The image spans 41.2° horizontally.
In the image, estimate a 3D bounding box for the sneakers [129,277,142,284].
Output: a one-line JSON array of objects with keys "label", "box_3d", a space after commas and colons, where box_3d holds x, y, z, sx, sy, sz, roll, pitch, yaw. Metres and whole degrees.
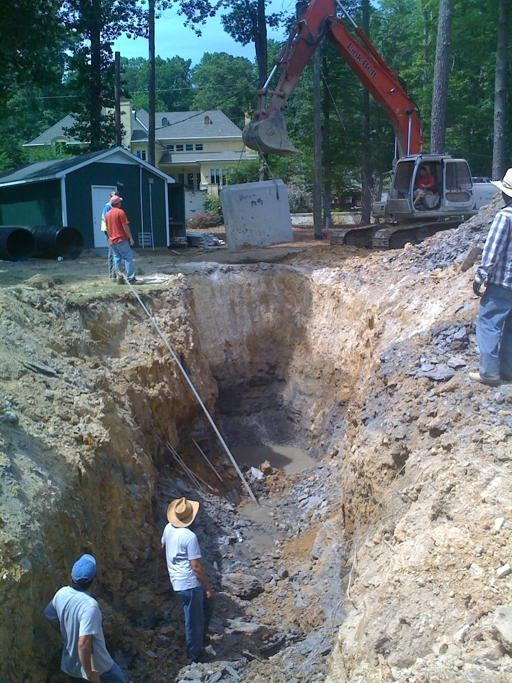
[{"label": "sneakers", "box_3d": [-2.193, -1.104, 12.523, 0.176, 0.075, 0.220, 4, 9, -3]}]

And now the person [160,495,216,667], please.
[{"label": "person", "box_3d": [-0.685, 2.389, 6.815, 0.470, 1.569, 0.555, -3, 9, -8]}]

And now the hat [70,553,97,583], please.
[{"label": "hat", "box_3d": [-1.308, 1.717, 5.225, 0.161, 0.084, 0.220, 5, 33, 1]}]

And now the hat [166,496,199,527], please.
[{"label": "hat", "box_3d": [-0.740, 1.768, 6.991, 0.360, 0.148, 0.386, 6, 38, 12]}]

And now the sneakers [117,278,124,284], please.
[{"label": "sneakers", "box_3d": [-2.434, -1.097, 12.336, 0.134, 0.121, 0.136, 11, 19, 22]}]

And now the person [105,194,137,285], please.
[{"label": "person", "box_3d": [-2.378, -1.761, 11.823, 0.436, 1.511, 0.822, -3, 9, -11]}]

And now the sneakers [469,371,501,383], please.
[{"label": "sneakers", "box_3d": [2.061, 0.320, 6.106, 0.087, 0.088, 0.232, 21, 8, -37]}]

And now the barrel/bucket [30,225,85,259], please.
[{"label": "barrel/bucket", "box_3d": [-4.981, -2.497, 17.272, 0.827, 0.700, 1.761, -17, 13, -43]}]

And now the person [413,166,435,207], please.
[{"label": "person", "box_3d": [3.952, -3.584, 15.738, 0.581, 0.925, 0.243, -4, 10, -17]}]
